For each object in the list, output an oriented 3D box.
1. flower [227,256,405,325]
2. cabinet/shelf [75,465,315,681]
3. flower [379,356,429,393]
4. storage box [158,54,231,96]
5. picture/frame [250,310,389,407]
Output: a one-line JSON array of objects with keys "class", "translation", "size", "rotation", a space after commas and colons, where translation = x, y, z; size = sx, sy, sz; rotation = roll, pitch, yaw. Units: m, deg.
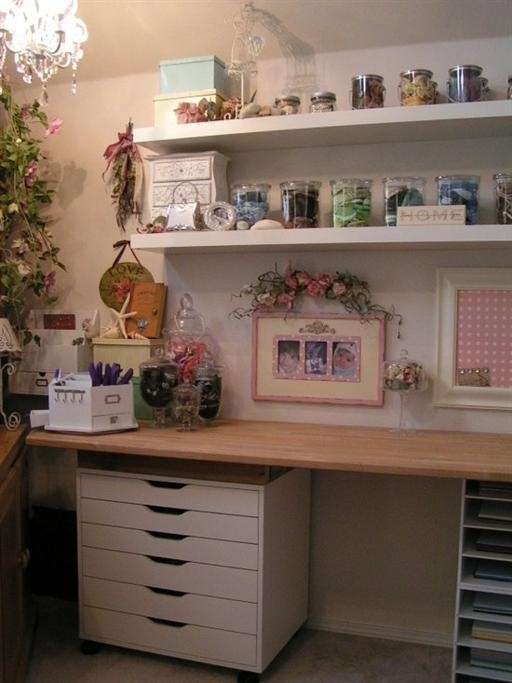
[{"class": "flower", "translation": [0.202, -0.177, 2.216], "size": [0.648, 0.226, 0.126], "rotation": [1, 2, 28]}, {"class": "cabinet/shelf", "translation": [-0.183, 0.553, 2.132], "size": [0.910, 0.803, 0.639], "rotation": [2, 0, 12]}, {"class": "flower", "translation": [0.505, 0.117, 2.016], "size": [0.143, 0.122, 0.160], "rotation": [0, 2, 12]}, {"class": "storage box", "translation": [-0.229, -0.990, 2.180], "size": [0.233, 0.106, 0.123], "rotation": [2, 5, 19]}, {"class": "picture/frame", "translation": [0.255, 0.057, 2.195], "size": [0.394, 0.265, 0.029], "rotation": [0, 1, 18]}]
